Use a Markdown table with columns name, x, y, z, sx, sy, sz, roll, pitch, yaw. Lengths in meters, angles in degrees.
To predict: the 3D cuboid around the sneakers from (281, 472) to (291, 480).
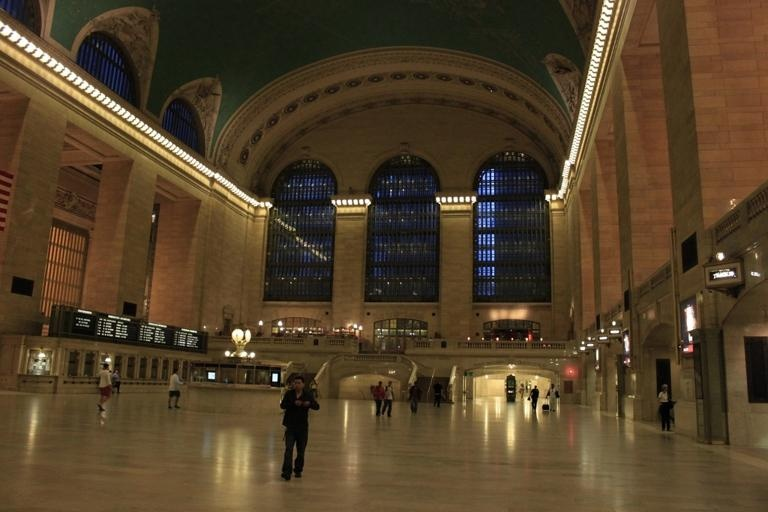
| name | x | y | z | sx | sy | sz | roll | pitch | yaw |
| --- | --- | --- | --- | --- | --- | --- | --- | --- | --- |
| sneakers | -1.624 | 3.618 | 9.809 | 0.156 | 0.154 | 0.093 | -4 | -12 | 18 |

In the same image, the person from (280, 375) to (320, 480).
| name | x | y | z | sx | sy | sz | roll | pitch | yaw |
| --- | --- | --- | --- | --- | --- | --- | --- | --- | --- |
| person | -1.552 | 2.947 | 10.380 | 0.516 | 1.713 | 0.720 | -10 | -20 | 36 |

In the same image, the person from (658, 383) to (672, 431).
| name | x | y | z | sx | sy | sz | roll | pitch | yaw |
| --- | --- | --- | --- | --- | --- | --- | --- | --- | --- |
| person | 9.011 | 4.817 | 18.988 | 0.362 | 1.440 | 1.288 | -6 | -17 | 24 |
